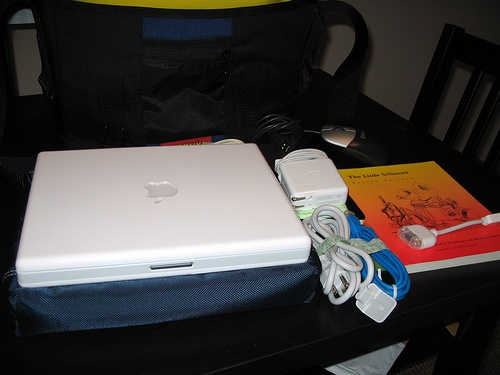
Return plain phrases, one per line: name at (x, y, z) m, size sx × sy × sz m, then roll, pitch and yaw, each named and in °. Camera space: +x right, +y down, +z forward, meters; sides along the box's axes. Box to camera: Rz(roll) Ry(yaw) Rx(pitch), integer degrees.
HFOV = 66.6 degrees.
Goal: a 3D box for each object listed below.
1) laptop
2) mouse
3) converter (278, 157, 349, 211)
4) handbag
laptop at (-0.167, 0.032, 0.718) m, size 0.463 × 0.065 × 0.337 m, roll -4°, pitch 36°, yaw -20°
mouse at (0.273, -0.149, 1.038) m, size 0.185 × 0.091 × 0.188 m, roll 8°, pitch 28°, yaw 17°
converter at (0.134, -0.009, 0.827) m, size 0.139 × 0.045 × 0.146 m, roll 0°, pitch 34°, yaw -5°
handbag at (-0.128, 0.181, 0.640) m, size 0.501 × 0.135 × 0.059 m, roll 2°, pitch 29°, yaw -12°
